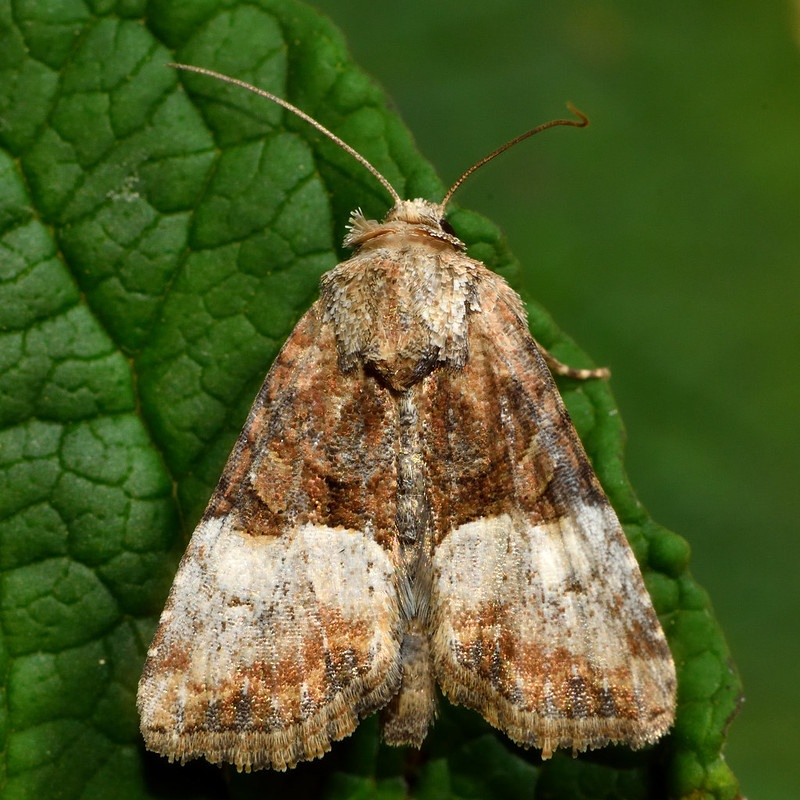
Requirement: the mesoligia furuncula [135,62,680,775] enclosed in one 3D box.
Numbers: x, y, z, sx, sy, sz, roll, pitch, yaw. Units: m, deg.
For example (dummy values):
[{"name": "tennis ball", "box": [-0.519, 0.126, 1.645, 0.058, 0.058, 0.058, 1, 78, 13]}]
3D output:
[{"name": "mesoligia furuncula", "box": [-0.128, 0.243, 5.083, 1.953, 2.925, 0.670, -3, -7, 6]}]
